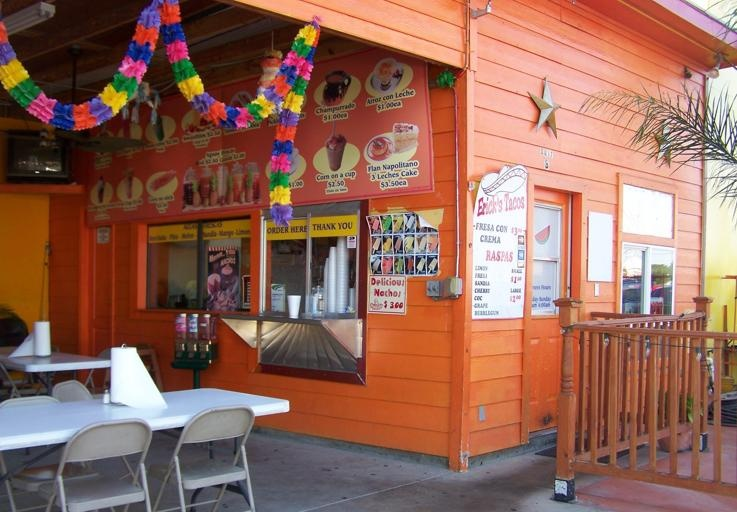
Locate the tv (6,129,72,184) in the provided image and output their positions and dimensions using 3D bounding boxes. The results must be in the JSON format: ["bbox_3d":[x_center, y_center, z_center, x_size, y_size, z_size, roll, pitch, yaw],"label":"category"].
[{"bbox_3d":[-5.535,-1.665,10.337,1.006,0.861,0.240,0,1,-5],"label":"tv"}]

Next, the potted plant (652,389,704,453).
[{"bbox_3d":[3.497,1.895,7.189,0.526,0.561,0.524,19,-21,-37],"label":"potted plant"}]

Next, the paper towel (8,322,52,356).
[{"bbox_3d":[-4.074,1.006,7.442,0.420,0.400,0.317,-1,2,-31],"label":"paper towel"}]

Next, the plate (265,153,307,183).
[{"bbox_3d":[-0.993,-1.132,7.523,0.421,0.413,0.098,-8,-19,35],"label":"plate"}]

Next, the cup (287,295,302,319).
[{"bbox_3d":[-0.896,0.606,7.412,0.155,0.250,0.345,0,1,-6],"label":"cup"}]
